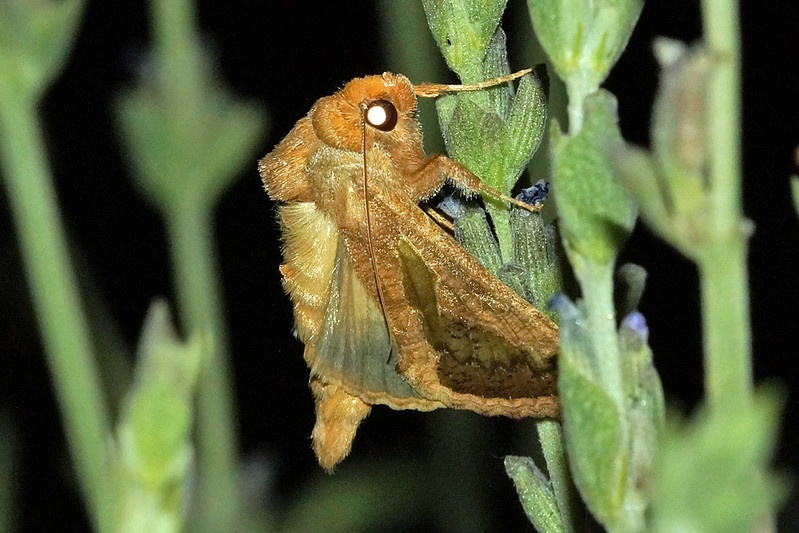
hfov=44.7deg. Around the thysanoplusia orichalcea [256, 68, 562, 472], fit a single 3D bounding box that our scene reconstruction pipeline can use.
[{"bbox_3d":[-0.005,-0.020,2.411,0.790,0.847,1.284,0,4,-1],"label":"thysanoplusia orichalcea"}]
